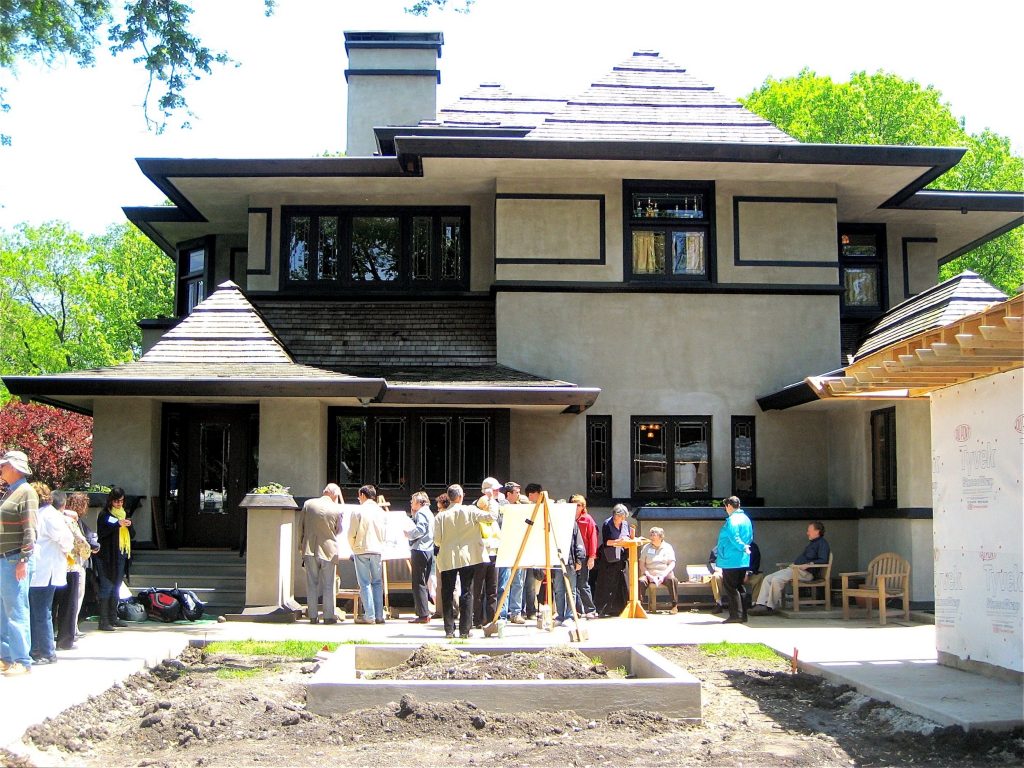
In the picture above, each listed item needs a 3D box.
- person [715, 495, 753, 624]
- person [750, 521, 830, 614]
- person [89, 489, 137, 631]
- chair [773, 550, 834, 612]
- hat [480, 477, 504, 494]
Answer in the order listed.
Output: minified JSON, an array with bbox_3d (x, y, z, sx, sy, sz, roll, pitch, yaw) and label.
[{"bbox_3d":[3.797,2.962,19.598,0.581,2.085,0.632,-2,-7,10],"label":"person"},{"bbox_3d":[5.050,3.270,20.642,1.300,1.538,0.992,-2,-7,11],"label":"person"},{"bbox_3d":[-6.332,2.750,18.278,0.478,2.162,0.884,2,-8,-20],"label":"person"},{"bbox_3d":[5.203,3.528,20.788,0.971,1.433,1.082,2,-12,-4],"label":"chair"},{"bbox_3d":[-0.377,1.649,18.767,0.375,0.215,0.283,-7,-5,43],"label":"hat"}]
